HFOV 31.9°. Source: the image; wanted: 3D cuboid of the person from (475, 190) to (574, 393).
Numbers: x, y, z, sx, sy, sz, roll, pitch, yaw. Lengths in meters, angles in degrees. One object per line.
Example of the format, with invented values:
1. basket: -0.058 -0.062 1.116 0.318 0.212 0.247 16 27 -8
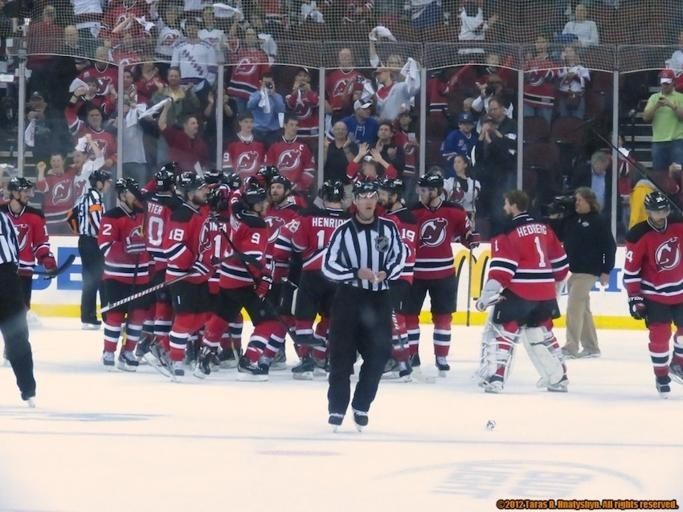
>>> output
1. person: 1.806 0.353 11.947 0.969 2.009 0.618 1 0 -20

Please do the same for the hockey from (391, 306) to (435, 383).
1. hockey: 0.731 0.935 12.298 0.399 0.782 0.372 0 7 1

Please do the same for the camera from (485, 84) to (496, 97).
1. camera: 2.063 -2.273 16.425 0.150 0.166 0.074 7 13 23

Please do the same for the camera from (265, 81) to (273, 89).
1. camera: -0.995 -2.339 16.333 0.126 0.097 0.048 3 28 -1

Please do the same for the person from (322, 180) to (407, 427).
1. person: 0.191 0.474 10.357 0.730 2.170 0.648 3 7 -4

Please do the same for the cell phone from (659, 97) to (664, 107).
1. cell phone: 4.407 -2.116 16.406 0.083 0.124 0.033 6 -5 -19
